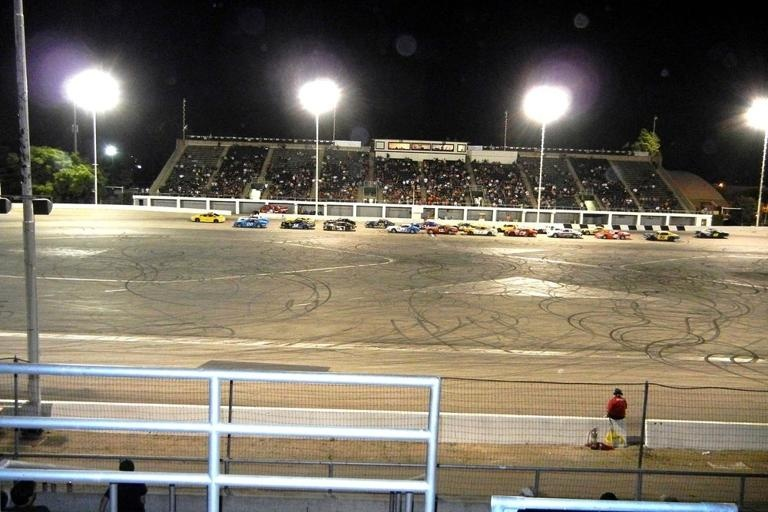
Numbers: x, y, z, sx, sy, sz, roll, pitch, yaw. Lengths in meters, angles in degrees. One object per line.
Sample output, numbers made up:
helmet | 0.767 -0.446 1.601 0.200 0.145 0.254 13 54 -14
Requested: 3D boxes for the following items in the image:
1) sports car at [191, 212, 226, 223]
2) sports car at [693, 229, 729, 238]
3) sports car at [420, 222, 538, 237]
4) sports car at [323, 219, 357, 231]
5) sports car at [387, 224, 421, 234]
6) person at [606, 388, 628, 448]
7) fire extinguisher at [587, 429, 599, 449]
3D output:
sports car | -15.030 -3.336 70.758 2.250 0.549 1.341 3 4 0
sports car | 28.798 -1.957 71.747 2.711 0.797 2.967 1 0 19
sports car | 8.046 -2.333 70.350 9.684 1.265 1.161 2 3 -7
sports car | -3.536 -2.566 67.055 2.114 0.722 1.170 2 5 -4
sports car | 1.706 -2.341 68.197 2.741 0.786 2.291 1 0 -3
person | 7.728 5.366 27.088 0.678 1.927 0.472 2 0 8
fire extinguisher | 6.877 6.000 26.878 0.387 0.692 0.295 2 0 12
